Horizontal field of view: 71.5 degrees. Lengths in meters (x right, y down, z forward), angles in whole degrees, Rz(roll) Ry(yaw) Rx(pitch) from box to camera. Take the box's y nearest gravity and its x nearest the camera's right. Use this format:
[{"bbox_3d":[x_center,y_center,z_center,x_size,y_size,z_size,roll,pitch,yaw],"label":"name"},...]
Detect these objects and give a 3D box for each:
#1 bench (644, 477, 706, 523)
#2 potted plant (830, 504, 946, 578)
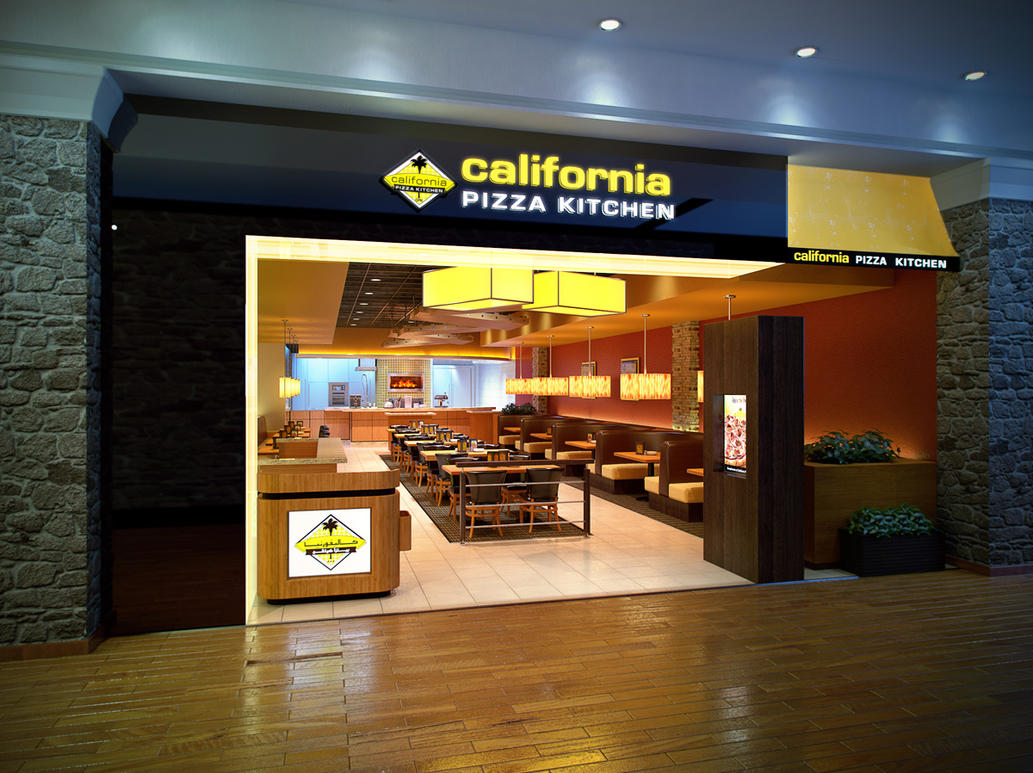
[{"bbox_3d":[2.470,1.689,10.793,0.325,0.573,1.452,-2,5,-18],"label":"bench"},{"bbox_3d":[4.024,1.695,7.815,1.274,0.700,0.659,-1,-5,-15],"label":"potted plant"}]
